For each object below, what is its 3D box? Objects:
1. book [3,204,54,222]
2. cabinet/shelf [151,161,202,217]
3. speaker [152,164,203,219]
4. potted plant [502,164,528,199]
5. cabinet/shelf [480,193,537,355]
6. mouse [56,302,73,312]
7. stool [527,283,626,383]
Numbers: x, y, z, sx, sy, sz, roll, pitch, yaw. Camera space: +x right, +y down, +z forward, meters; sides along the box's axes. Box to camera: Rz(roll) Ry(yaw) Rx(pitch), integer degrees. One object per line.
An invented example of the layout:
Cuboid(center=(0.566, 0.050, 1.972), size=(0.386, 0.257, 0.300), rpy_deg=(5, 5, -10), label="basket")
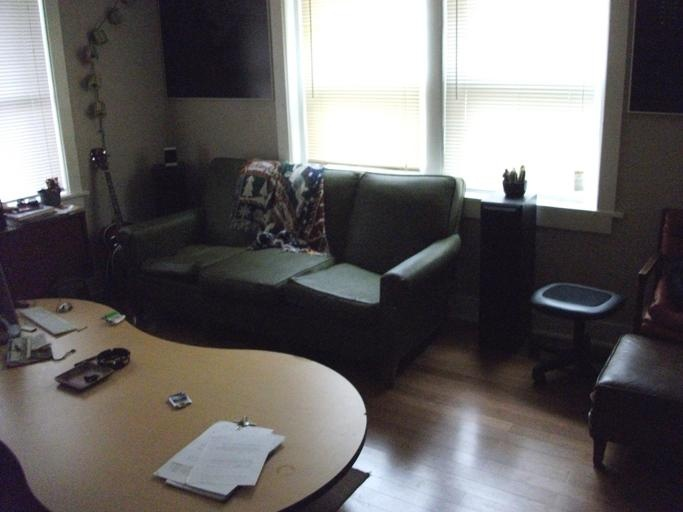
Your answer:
Cuboid(center=(-2.163, -0.298, 3.982), size=(0.146, 0.057, 0.313), rpy_deg=(15, 25, 39), label="book")
Cuboid(center=(-1.390, -0.581, 4.821), size=(0.303, 0.458, 0.371), rpy_deg=(13, 24, 38), label="cabinet/shelf")
Cuboid(center=(-1.380, -0.559, 4.797), size=(0.282, 0.431, 0.351), rpy_deg=(14, 26, 34), label="speaker")
Cuboid(center=(1.104, -0.488, 3.600), size=(0.133, 0.188, 0.143), rpy_deg=(-8, -4, 24), label="potted plant")
Cuboid(center=(1.059, 0.107, 3.639), size=(0.383, 0.950, 0.314), rpy_deg=(0, 18, 3), label="cabinet/shelf")
Cuboid(center=(-1.600, 0.292, 3.298), size=(0.048, 0.024, 0.072), rpy_deg=(4, 19, 5), label="mouse")
Cuboid(center=(1.354, 0.396, 3.439), size=(0.533, 0.582, 0.551), rpy_deg=(11, 26, 37), label="stool")
